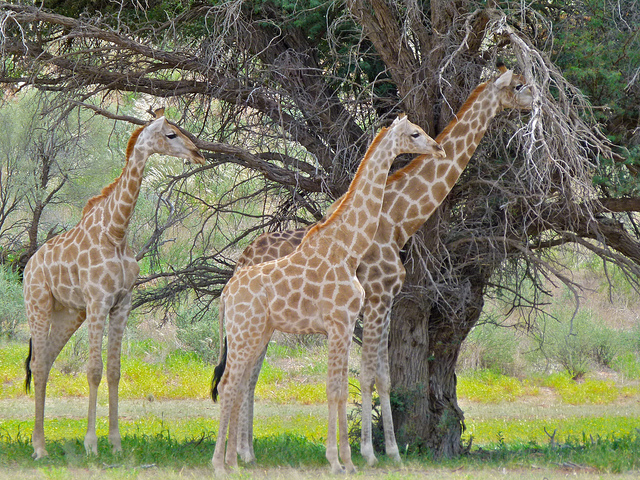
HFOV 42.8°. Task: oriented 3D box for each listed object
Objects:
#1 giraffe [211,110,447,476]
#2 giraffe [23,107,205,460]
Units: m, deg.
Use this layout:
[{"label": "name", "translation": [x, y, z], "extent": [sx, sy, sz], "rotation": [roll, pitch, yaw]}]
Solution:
[{"label": "giraffe", "translation": [-0.103, 0.686, 11.496], "extent": [2.780, 4.962, 1.356], "rotation": [1, -4, -1]}, {"label": "giraffe", "translation": [-3.286, 0.610, 11.918], "extent": [2.510, 5.043, 0.883], "rotation": [-2, -5, 33]}]
